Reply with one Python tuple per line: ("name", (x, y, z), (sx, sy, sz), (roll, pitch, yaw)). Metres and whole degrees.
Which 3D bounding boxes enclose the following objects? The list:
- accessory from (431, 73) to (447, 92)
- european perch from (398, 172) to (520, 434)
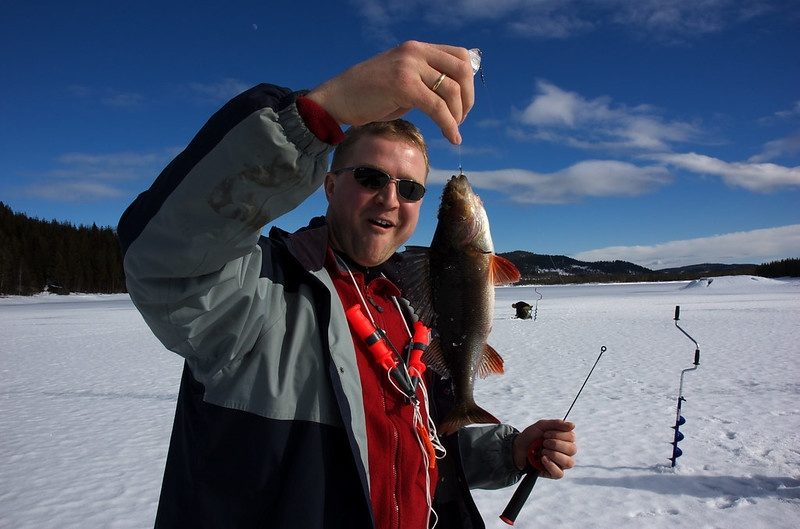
("accessory", (0.268, -1.287, 3.629), (0.027, 0.111, 0.112), (40, 9, 2))
("european perch", (0.442, 0.268, 4.993), (0.925, 2.442, 1.528), (1, -1, -4))
